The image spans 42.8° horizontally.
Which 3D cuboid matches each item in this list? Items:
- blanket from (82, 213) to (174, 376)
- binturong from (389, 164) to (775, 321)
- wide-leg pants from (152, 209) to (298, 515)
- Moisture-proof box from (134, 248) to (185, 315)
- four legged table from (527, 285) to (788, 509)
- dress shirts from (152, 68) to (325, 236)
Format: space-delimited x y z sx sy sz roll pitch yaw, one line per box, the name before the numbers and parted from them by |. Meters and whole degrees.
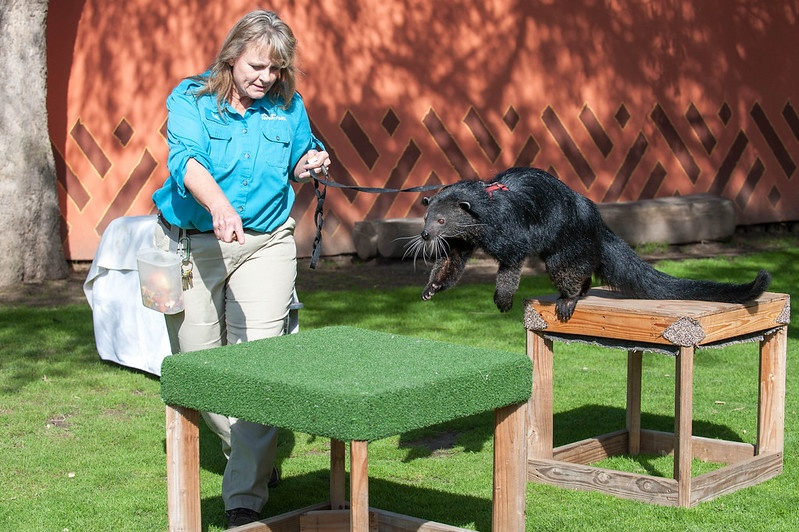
blanket | -2.232 0.285 8.857 0.843 1.759 0.902 4 -1 0
binturong | 1.167 -0.170 7.058 2.057 0.987 0.429 2 9 22
wide-leg pants | -1.110 0.655 6.749 0.813 1.921 0.734 3 -9 -5
Moisture-proof box | -1.452 0.083 6.330 0.255 0.397 0.273 2 7 24
four legged table | 1.762 0.744 7.098 1.482 1.500 1.519 1 3 44
dress shirts | -1.001 -0.659 6.702 0.805 1.441 1.016 -1 -12 2
